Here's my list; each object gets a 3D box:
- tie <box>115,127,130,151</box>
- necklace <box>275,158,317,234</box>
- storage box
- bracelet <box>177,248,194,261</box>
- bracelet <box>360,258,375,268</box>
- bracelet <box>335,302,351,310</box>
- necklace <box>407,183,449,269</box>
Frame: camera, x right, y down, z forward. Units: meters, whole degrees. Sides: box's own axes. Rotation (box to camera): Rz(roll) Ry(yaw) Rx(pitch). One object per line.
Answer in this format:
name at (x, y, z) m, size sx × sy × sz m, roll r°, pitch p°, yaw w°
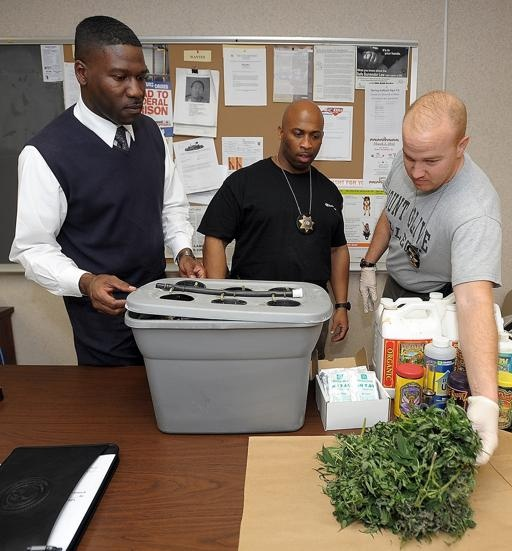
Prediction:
tie at (-0.401, -0.409, 1.511) m, size 0.041 × 0.065 × 0.019 m, roll 2°, pitch -6°, yaw -43°
necklace at (0.178, -0.292, 1.965) m, size 0.133 × 0.235 × 0.170 m, roll -4°, pitch 16°, yaw -13°
storage box at (-0.054, 0.128, 1.012) m, size 0.467 × 0.281 × 0.314 m, roll 0°, pitch 5°, yaw -1°
bracelet at (-0.211, -0.067, 1.542) m, size 0.052 × 0.046 × 0.037 m, roll -3°, pitch 41°, yaw -6°
bracelet at (0.433, -0.050, 1.976) m, size 0.040 × 0.021 × 0.033 m, roll 3°, pitch 11°, yaw -28°
bracelet at (0.376, 0.134, 2.156) m, size 0.044 × 0.024 × 0.037 m, roll -3°, pitch 7°, yaw -8°
necklace at (0.502, -0.148, 1.464) m, size 0.106 × 0.185 × 0.194 m, roll -12°, pitch 30°, yaw 9°
